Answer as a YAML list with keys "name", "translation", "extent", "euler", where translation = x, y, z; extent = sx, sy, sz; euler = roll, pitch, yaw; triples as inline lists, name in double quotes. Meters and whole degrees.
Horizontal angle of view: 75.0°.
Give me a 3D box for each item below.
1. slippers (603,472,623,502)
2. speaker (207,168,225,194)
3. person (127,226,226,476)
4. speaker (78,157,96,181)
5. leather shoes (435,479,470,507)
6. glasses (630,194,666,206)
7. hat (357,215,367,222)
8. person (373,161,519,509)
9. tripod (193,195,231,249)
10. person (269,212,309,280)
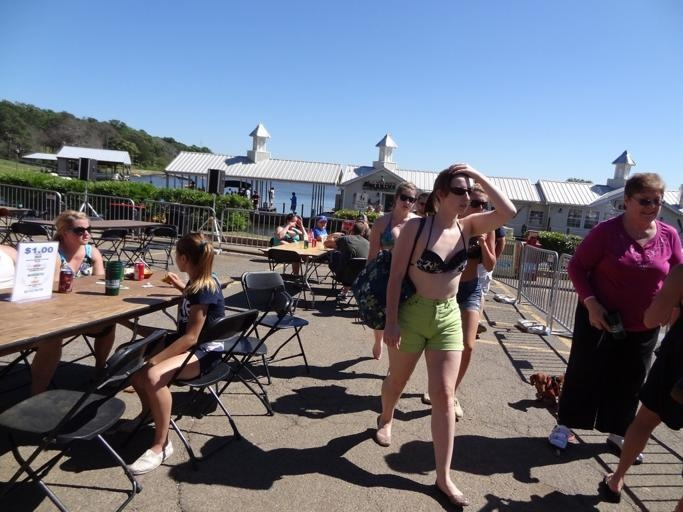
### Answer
- name: "slippers"
  translation: [2.004, 1.749, 3.355]
  extent: [0.085, 0.091, 0.226]
  euler: [-18, 27, 5]
- name: "speaker"
  translation: [-3.935, -2.337, 13.976]
  extent: [0.459, 0.754, 0.640]
  euler: [1, 11, -19]
- name: "person"
  translation: [-1.245, 0.661, 3.452]
  extent: [0.679, 1.635, 0.891]
  euler: [1, 11, -21]
- name: "speaker"
  translation: [-8.260, -2.806, 14.460]
  extent: [0.469, 0.713, 0.644]
  euler: [-1, 12, -30]
- name: "leather shoes"
  translation: [0.759, 1.650, 3.116]
  extent: [0.101, 0.103, 0.266]
  euler: [-4, -5, -24]
- name: "glasses"
  translation: [2.270, -0.397, 3.246]
  extent: [0.205, 0.069, 0.101]
  euler: [2, 10, -15]
- name: "hat"
  translation: [0.412, -0.754, 8.858]
  extent: [0.175, 0.110, 0.232]
  euler: [2, 5, 18]
- name: "person"
  translation: [0.697, 0.490, 3.262]
  extent: [0.812, 2.312, 0.711]
  euler: [9, 11, 20]
- name: "tripod"
  translation: [-4.017, -1.397, 14.234]
  extent: [1.360, 1.483, 1.353]
  euler: [-5, 22, -29]
- name: "person"
  translation: [-1.170, -0.211, 10.328]
  extent: [0.865, 1.459, 0.905]
  euler: [2, -7, -45]
